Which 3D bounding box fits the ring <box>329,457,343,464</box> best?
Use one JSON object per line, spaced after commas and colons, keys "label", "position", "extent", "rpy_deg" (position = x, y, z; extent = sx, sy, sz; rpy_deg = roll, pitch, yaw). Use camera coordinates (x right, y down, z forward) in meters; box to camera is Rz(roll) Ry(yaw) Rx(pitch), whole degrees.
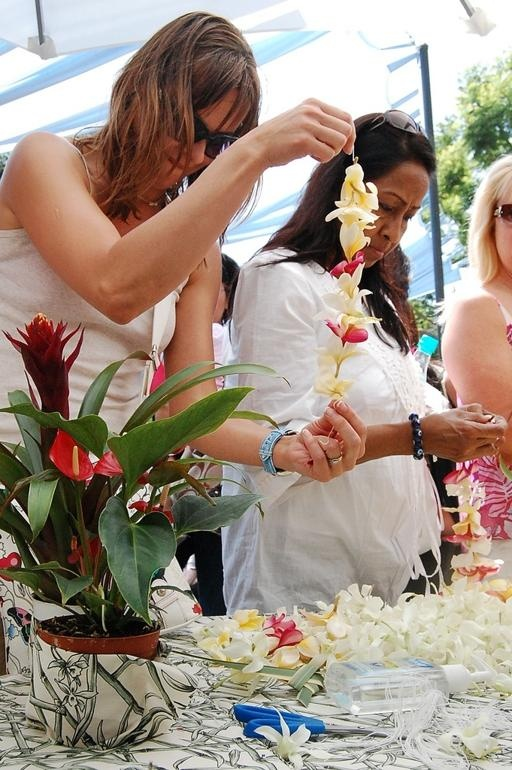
{"label": "ring", "position": [0.113, 0.108, 0.909], "extent": [0.019, 0.014, 0.017], "rpy_deg": [-5, 5, 5]}

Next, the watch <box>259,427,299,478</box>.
{"label": "watch", "position": [0.039, 0.107, 1.024], "extent": [0.071, 0.074, 0.059], "rpy_deg": [1, 6, 3]}
